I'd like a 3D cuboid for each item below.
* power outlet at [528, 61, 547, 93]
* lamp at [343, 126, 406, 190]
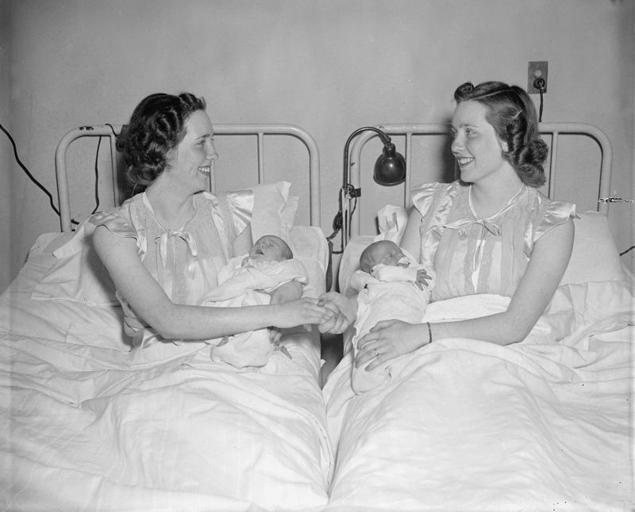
[{"bbox_3d":[0.975,-0.793,2.435,0.084,0.044,0.144,9,-26,25],"label":"power outlet"},{"bbox_3d":[0.248,-0.431,2.400,0.282,0.311,0.171,-13,45,0],"label":"lamp"}]
